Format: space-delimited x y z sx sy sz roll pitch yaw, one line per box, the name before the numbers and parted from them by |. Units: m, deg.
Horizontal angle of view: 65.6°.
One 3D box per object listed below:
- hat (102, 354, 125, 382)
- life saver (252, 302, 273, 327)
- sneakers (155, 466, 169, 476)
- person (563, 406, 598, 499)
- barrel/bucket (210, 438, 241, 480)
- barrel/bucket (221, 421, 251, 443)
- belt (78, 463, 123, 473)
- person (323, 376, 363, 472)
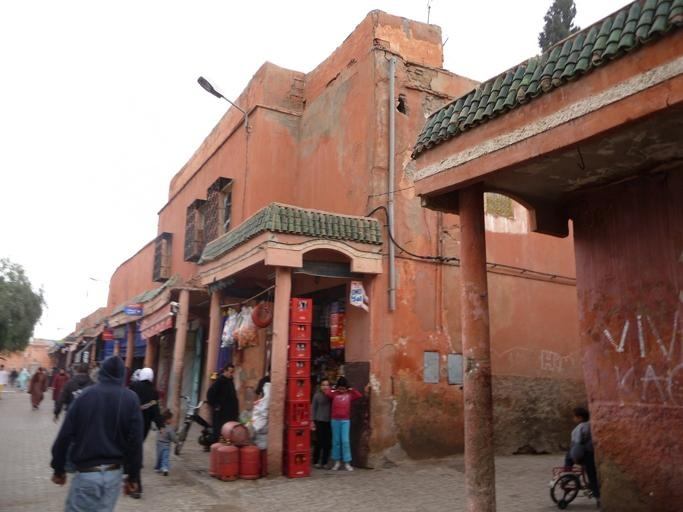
hat | -2.327 1.170 5.527 0.251 0.271 0.321 5 -15 -22
life saver | -1.800 1.344 12.113 0.509 0.514 0.155 -1 -4 -30
sneakers | -3.265 3.902 9.580 0.106 0.142 0.341 16 -30 -34
person | 3.406 2.864 7.600 0.409 1.274 0.718 -4 -10 21
barrel/bucket | -2.049 3.738 9.649 0.588 0.605 0.576 0 -13 0
barrel/bucket | -1.948 3.263 9.789 0.395 0.377 0.411 7 -9 1
belt | -2.288 2.006 5.009 0.375 0.082 0.084 4 -10 -30
person | 0.001 3.356 10.687 0.698 1.799 0.557 -4 -10 18
